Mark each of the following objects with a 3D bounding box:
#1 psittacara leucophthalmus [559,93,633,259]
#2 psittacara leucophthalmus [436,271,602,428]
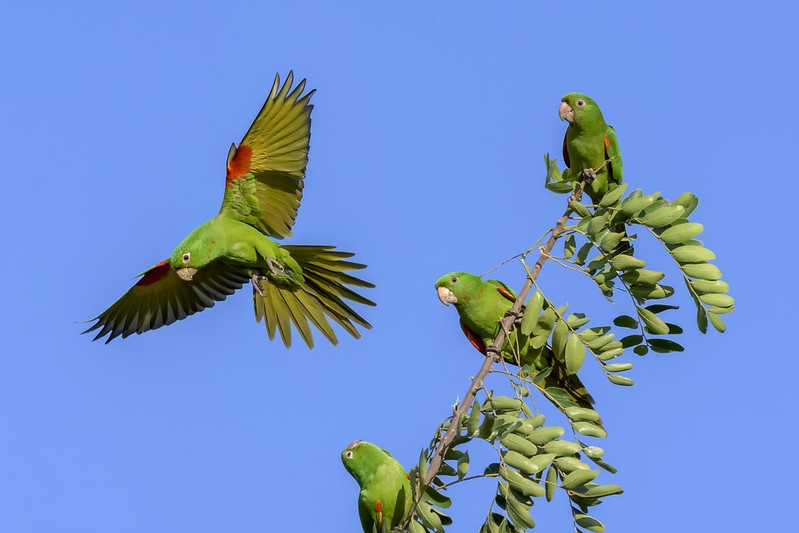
[{"bbox_3d":[1.629,-0.795,9.558,0.485,1.286,0.926,-8,-56,10],"label":"psittacara leucophthalmus"},{"bbox_3d":[1.015,0.600,9.483,1.781,0.748,0.570,23,-32,-30],"label":"psittacara leucophthalmus"}]
